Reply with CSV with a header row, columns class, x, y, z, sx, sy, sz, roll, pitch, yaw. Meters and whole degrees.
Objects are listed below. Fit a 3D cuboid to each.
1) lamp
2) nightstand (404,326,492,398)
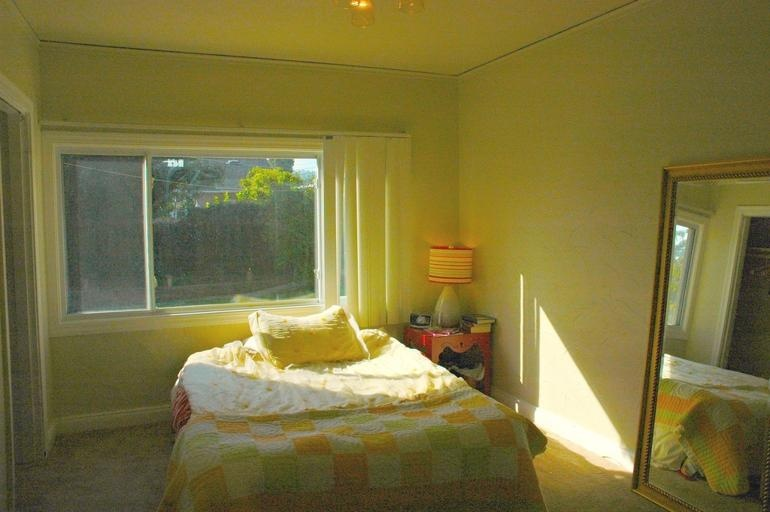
class,x,y,z,sx,sy,sz,roll,pitch,yaw
lamp,0.620,0.280,5.499,0.432,0.732,0.402,1,8,6
nightstand,0.576,0.938,5.594,0.717,0.838,0.551,-2,4,-23
